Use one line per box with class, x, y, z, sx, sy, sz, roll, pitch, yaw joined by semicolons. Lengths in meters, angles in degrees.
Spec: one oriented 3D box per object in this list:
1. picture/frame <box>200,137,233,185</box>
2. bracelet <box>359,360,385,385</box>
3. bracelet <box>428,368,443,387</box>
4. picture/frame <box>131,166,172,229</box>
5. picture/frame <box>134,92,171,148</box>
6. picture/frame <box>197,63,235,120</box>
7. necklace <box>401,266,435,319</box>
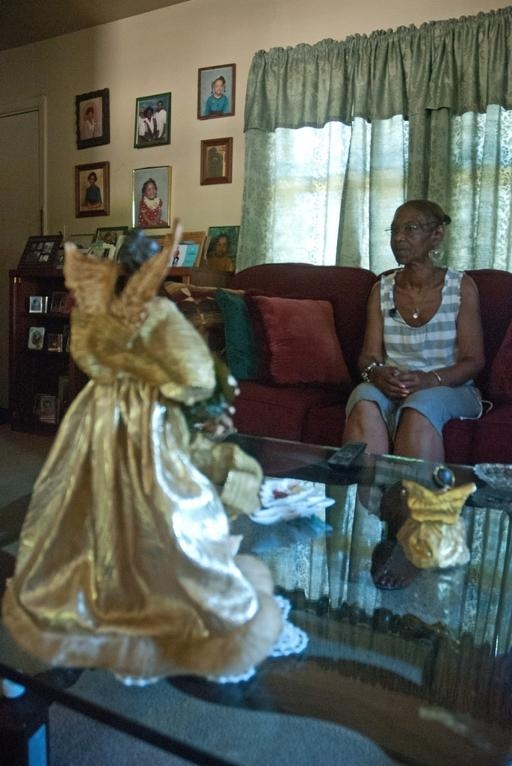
picture/frame;-0.254;-1.461;3.745;0.319;0.354;0.028;6;8;33
bracelet;0.418;-0.037;2.042;0.032;0.062;0.081;9;-11;-14
bracelet;0.613;-0.013;1.924;0.011;0.043;0.045;-24;10;2
picture/frame;-0.741;-1.297;4.021;0.160;0.440;0.363;3;9;-45
picture/frame;-0.716;-1.824;3.953;0.402;0.450;0.030;6;9;30
picture/frame;-0.252;-1.892;3.692;0.369;0.395;0.028;6;11;26
necklace;0.620;-0.323;2.145;0.147;0.197;0.073;9;4;42
